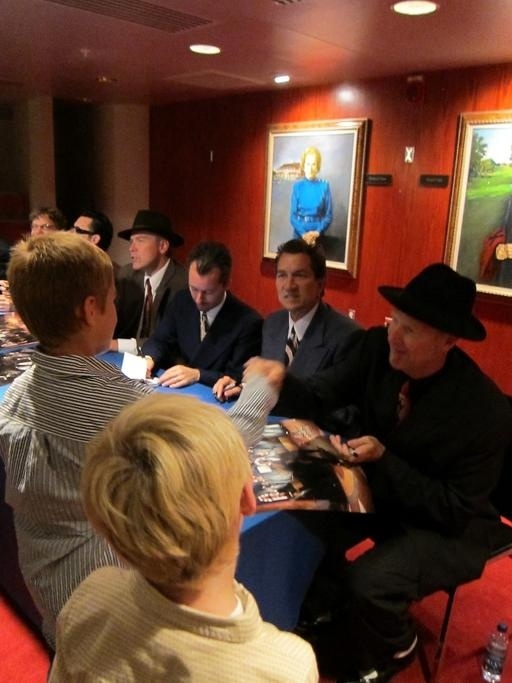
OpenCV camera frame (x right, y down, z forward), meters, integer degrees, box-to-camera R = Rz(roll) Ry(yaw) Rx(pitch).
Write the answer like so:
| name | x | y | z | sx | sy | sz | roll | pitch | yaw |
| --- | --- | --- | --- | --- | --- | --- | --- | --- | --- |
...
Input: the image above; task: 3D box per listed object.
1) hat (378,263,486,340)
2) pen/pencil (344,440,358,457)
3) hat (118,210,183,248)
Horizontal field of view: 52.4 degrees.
| name | x | y | z | sx | sy | sz | roll | pitch | yaw |
| --- | --- | --- | --- | --- | --- | --- | --- | --- | --- |
| hat | 0.587 | -0.135 | 1.790 | 0.279 | 0.112 | 0.291 | 22 | 17 | -19 |
| pen/pencil | 0.313 | 0.350 | 1.691 | 0.018 | 0.015 | 0.058 | -34 | 20 | 4 |
| hat | -0.716 | -0.726 | 3.665 | 0.346 | 0.153 | 0.422 | 6 | -4 | 40 |
